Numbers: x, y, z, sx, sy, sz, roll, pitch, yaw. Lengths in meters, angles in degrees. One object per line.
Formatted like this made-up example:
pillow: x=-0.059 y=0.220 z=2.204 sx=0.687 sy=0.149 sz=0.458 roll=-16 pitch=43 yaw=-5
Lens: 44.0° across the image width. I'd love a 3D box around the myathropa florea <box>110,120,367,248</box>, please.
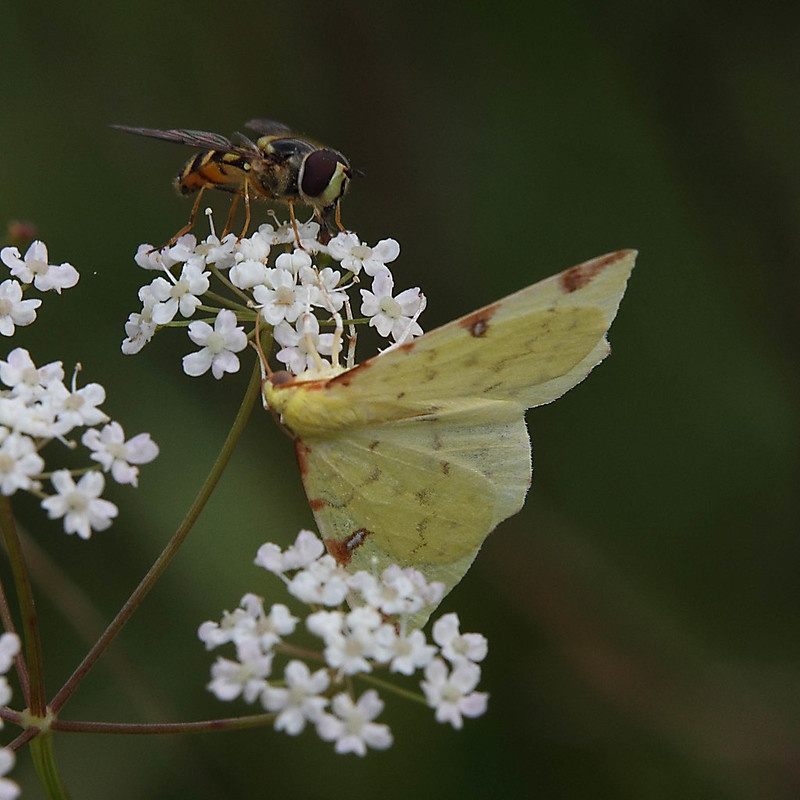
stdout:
myathropa florea: x=-0.759 y=-1.221 z=5.289 sx=0.787 sy=0.964 sz=0.913 roll=2 pitch=-76 yaw=15
